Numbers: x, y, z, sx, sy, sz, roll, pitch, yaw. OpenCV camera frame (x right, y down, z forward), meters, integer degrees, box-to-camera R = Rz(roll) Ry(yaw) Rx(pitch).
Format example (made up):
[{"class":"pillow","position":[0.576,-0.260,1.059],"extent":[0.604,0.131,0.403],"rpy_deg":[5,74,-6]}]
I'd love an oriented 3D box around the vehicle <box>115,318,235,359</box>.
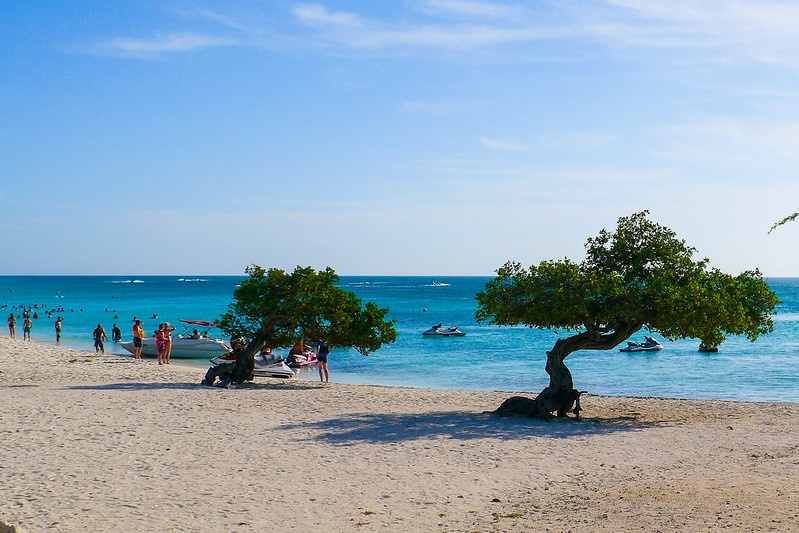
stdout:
[{"class":"vehicle","position":[-16.043,5.572,64.429],"extent":[8.205,2.572,2.498],"rpy_deg":[5,-8,-2]}]
